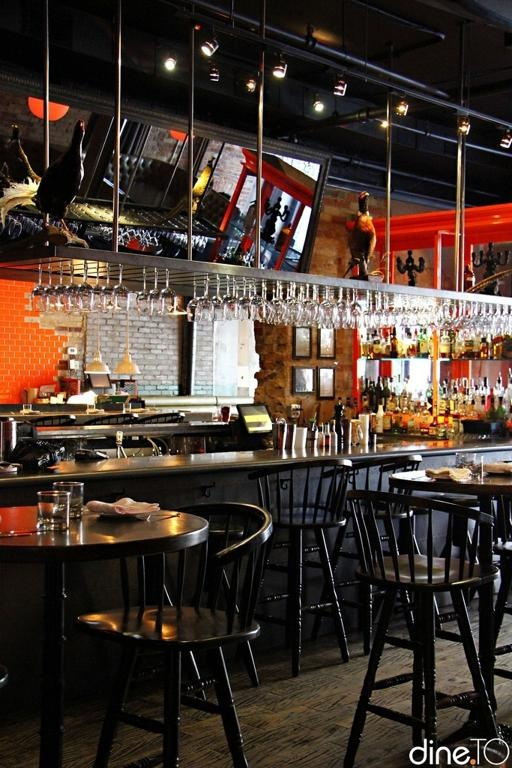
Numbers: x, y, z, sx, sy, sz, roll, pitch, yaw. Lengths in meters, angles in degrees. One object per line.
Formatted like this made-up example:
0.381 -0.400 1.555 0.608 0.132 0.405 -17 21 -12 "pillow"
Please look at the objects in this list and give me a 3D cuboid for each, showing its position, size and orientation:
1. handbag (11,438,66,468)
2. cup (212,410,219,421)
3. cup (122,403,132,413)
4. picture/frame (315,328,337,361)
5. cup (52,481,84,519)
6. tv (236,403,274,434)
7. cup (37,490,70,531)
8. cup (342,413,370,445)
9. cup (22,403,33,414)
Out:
-1.042 0.320 3.436 0.127 0.164 0.461 6 -5 -43 "handbag"
-0.559 0.440 10.142 0.097 0.169 0.094 2 4 0 "cup"
-1.580 0.295 9.039 0.115 0.143 0.112 1 -1 0 "cup"
0.720 -0.413 7.580 0.040 0.386 0.355 -2 -2 42 "picture/frame"
-0.523 0.334 2.122 0.109 0.115 0.106 0 -1 0 "cup"
-0.014 0.281 5.829 0.279 0.240 0.255 3 -1 -2 "tv"
-0.530 0.331 1.915 0.096 0.099 0.090 1 0 0 "cup"
0.723 0.337 5.194 0.253 0.242 0.141 0 -2 39 "cup"
-2.654 0.285 8.494 0.131 0.140 0.127 2 -2 0 "cup"
